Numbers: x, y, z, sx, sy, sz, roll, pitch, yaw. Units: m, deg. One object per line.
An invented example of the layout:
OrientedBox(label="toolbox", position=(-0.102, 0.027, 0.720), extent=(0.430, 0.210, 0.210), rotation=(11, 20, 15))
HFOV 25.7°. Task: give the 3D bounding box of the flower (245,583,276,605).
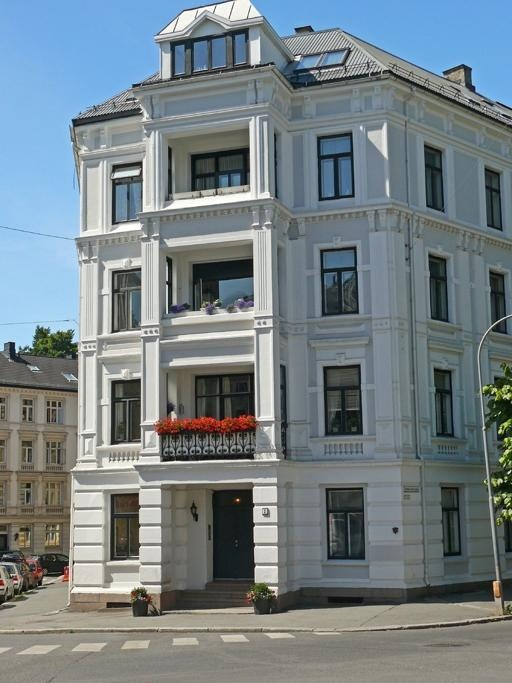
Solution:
OrientedBox(label="flower", position=(0.062, 6.372, 28.618), extent=(0.524, 0.418, 0.552), rotation=(4, -8, -20))

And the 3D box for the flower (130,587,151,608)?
OrientedBox(label="flower", position=(-2.995, 6.640, 29.306), extent=(0.431, 0.344, 0.432), rotation=(2, -3, -1))

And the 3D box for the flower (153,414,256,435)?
OrientedBox(label="flower", position=(-1.320, 2.258, 29.973), extent=(2.129, 0.588, 0.451), rotation=(0, 1, 10))

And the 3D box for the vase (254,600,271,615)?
OrientedBox(label="vase", position=(0.156, 6.679, 28.450), extent=(0.374, 0.299, 0.389), rotation=(-2, -2, -7))

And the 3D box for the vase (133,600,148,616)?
OrientedBox(label="vase", position=(-2.987, 6.866, 29.086), extent=(0.375, 0.319, 0.398), rotation=(4, -6, -18))
